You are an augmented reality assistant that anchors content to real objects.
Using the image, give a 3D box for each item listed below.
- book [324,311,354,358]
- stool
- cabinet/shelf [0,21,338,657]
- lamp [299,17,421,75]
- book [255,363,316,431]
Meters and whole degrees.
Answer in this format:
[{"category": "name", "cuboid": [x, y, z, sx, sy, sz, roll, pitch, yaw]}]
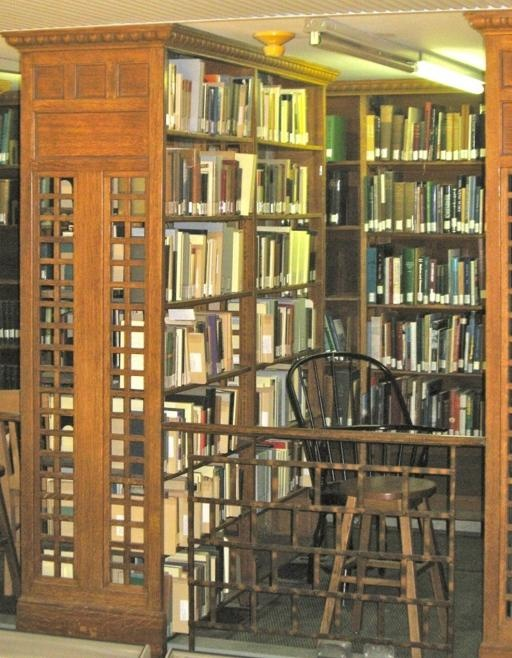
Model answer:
[{"category": "book", "cuboid": [0.460, 0.040, 6.051, 0.106, 0.242, 0.295, -3, 0, 29]}, {"category": "stool", "cuboid": [0.487, 0.886, 4.158, 0.482, 0.683, 0.867, -2, 0, 6]}, {"category": "cabinet/shelf", "cuboid": [-0.352, -0.029, 4.744, 0.796, 2.331, 1.616, -2, 0, 20]}, {"category": "lamp", "cuboid": [0.429, -1.090, 4.392, 0.169, 0.135, 1.062, 8, 5, 29]}, {"category": "book", "cuboid": [0.130, 0.322, 5.342, 0.294, 0.316, 0.364, -2, 1, 12]}]
